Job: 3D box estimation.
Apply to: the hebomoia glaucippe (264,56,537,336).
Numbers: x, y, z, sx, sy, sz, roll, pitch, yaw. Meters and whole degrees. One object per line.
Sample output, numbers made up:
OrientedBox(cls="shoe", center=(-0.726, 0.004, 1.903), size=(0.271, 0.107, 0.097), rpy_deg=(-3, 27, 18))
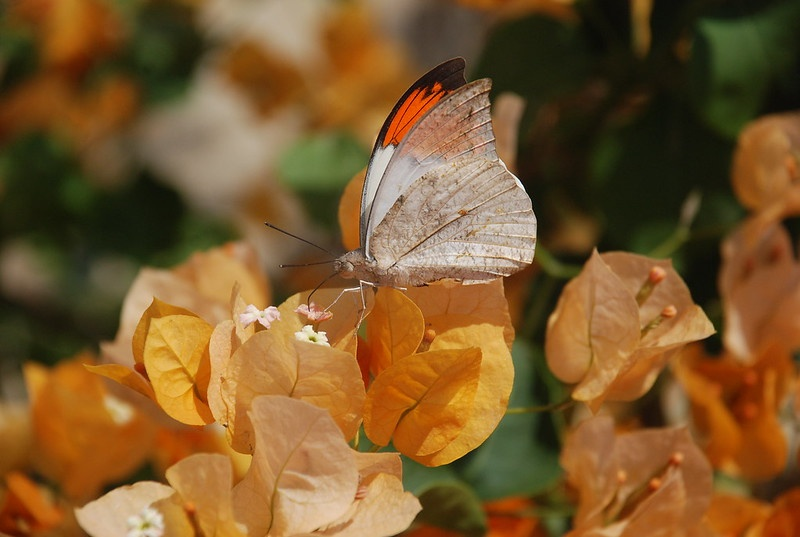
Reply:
OrientedBox(cls="hebomoia glaucippe", center=(0.024, -0.054, 0.778), size=(0.147, 0.166, 0.185), rpy_deg=(-6, 94, -35))
